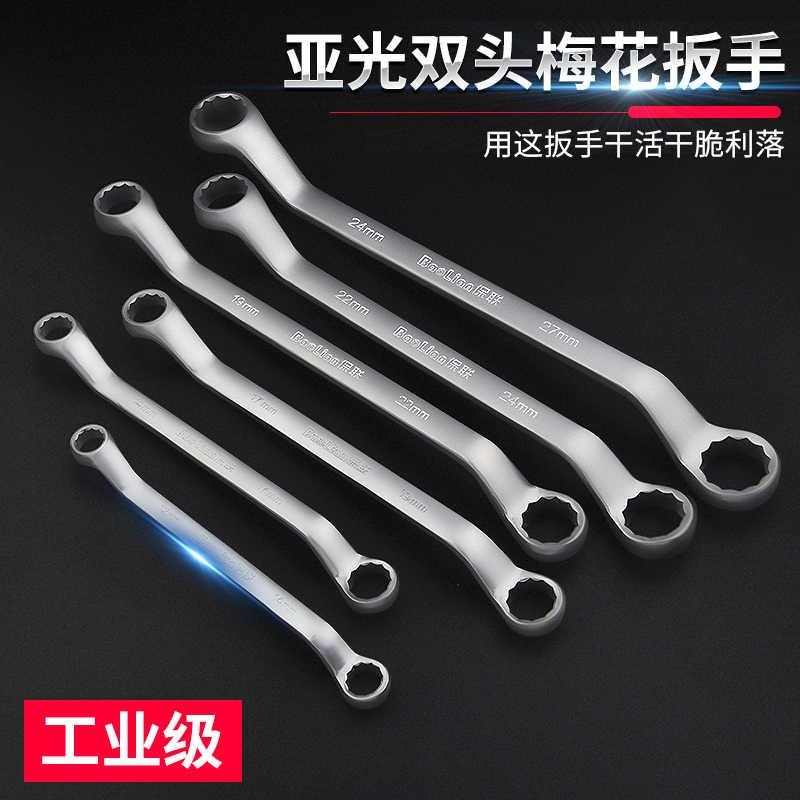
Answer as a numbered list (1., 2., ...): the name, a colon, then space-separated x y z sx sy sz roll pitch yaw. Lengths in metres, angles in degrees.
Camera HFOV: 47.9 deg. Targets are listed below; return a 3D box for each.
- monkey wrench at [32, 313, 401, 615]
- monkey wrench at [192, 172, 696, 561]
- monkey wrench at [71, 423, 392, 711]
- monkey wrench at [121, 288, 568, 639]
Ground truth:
1. monkey wrench: -0.335 0.137 1.681 0.844 0.127 0.087 36 -18 24
2. monkey wrench: 0.076 -0.044 1.763 1.152 0.199 0.163 35 -31 16
3. monkey wrench: -0.288 0.308 1.567 0.708 0.105 0.080 37 -17 29
4. monkey wrench: -0.095 0.135 1.646 0.960 0.163 0.134 34 -30 27
